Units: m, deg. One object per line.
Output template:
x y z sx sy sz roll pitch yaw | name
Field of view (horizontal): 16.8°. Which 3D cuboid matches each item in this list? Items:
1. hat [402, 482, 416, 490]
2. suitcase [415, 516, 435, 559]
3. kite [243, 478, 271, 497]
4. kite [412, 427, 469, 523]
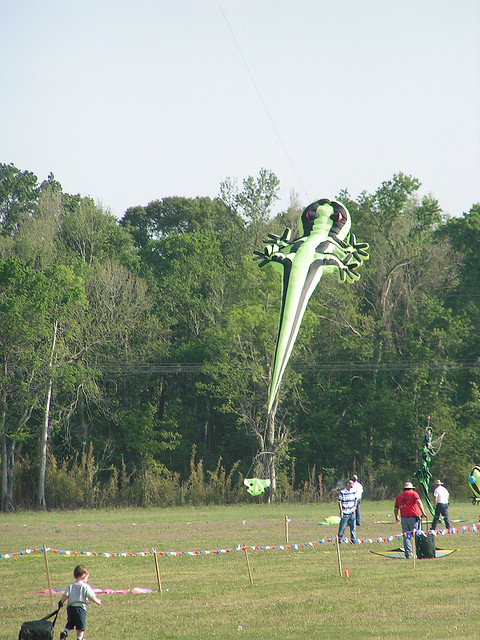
4.504 4.484 44.222 0.313 0.171 0.330 -2 -1 0 | hat
4.882 6.041 43.573 0.588 0.678 0.246 4 -11 -29 | suitcase
0.616 7.016 68.463 1.016 0.984 0.148 4 -8 -15 | kite
6.113 4.944 52.194 1.110 3.422 0.680 2 -30 -10 | kite
